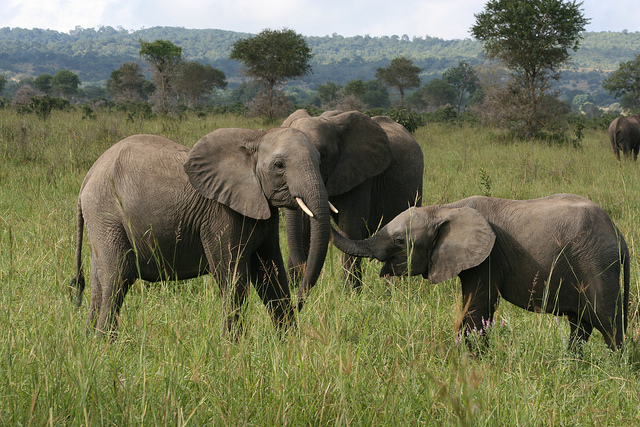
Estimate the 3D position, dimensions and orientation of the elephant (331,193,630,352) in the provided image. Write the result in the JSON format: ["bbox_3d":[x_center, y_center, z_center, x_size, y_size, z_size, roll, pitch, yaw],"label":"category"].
[{"bbox_3d":[1.596,0.694,6.681,2.838,1.613,1.186,1,4,13],"label":"elephant"}]

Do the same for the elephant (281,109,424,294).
[{"bbox_3d":[0.292,-0.142,8.347,1.515,1.957,3.159,1,-2,40],"label":"elephant"}]

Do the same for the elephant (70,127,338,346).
[{"bbox_3d":[-1.088,0.179,6.321,2.329,2.071,1.057,6,4,11],"label":"elephant"}]

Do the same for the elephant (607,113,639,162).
[{"bbox_3d":[7.532,-1.974,17.209,0.794,1.079,1.835,4,11,25],"label":"elephant"}]
